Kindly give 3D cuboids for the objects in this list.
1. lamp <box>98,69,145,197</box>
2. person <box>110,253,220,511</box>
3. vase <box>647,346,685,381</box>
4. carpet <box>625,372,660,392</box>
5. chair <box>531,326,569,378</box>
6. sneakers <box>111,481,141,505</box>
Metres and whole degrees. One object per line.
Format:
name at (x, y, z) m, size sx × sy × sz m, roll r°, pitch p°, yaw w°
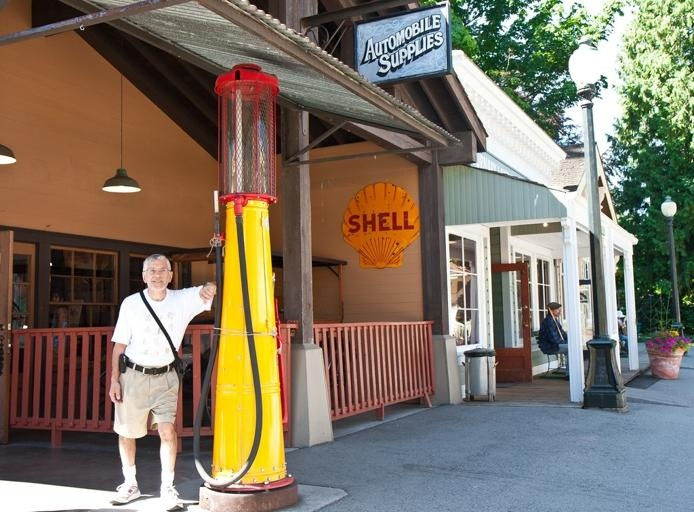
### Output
lamp at (-3.762, -2.089, 11.083) m, size 0.598 × 2.256 × 1.454 m, roll -1°, pitch -6°, yaw -18°
person at (-1.757, 1.137, 6.214) m, size 0.937 × 2.285 × 0.421 m, roll -3°, pitch -6°, yaw -6°
vase at (7.034, 2.363, 14.807) m, size 0.657 × 0.556 × 0.676 m, roll 1°, pitch -12°, yaw 5°
carpet at (6.132, 2.575, 13.937) m, size 0.502 × 0.065 × 2.859 m, roll -7°, pitch -7°, yaw 29°
chair at (5.148, 2.465, 16.679) m, size 1.011 × 1.445 × 1.415 m, roll -4°, pitch -7°, yaw 27°
sneakers at (-2.066, 2.188, 6.219) m, size 0.120 × 0.147 × 0.340 m, roll -2°, pitch -13°, yaw 12°
